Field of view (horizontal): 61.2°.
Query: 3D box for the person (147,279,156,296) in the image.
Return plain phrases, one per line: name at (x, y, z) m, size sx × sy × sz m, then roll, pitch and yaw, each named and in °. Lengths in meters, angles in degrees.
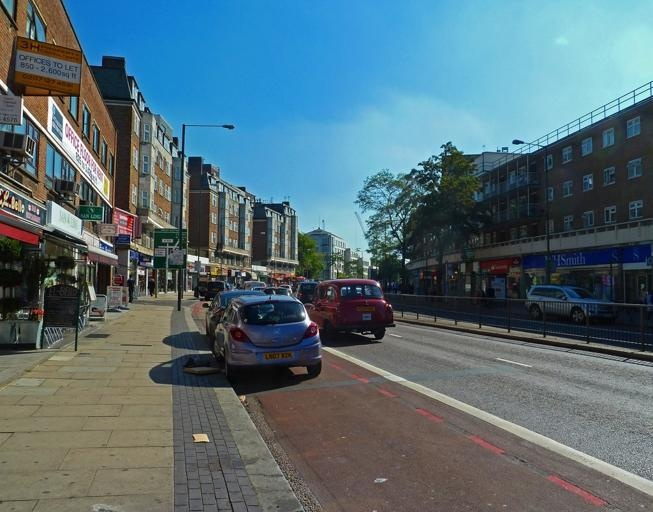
person at (-14.562, 2.757, 46.170) m, size 0.476 × 1.456 × 1.529 m, roll 2°, pitch 4°, yaw -19°
